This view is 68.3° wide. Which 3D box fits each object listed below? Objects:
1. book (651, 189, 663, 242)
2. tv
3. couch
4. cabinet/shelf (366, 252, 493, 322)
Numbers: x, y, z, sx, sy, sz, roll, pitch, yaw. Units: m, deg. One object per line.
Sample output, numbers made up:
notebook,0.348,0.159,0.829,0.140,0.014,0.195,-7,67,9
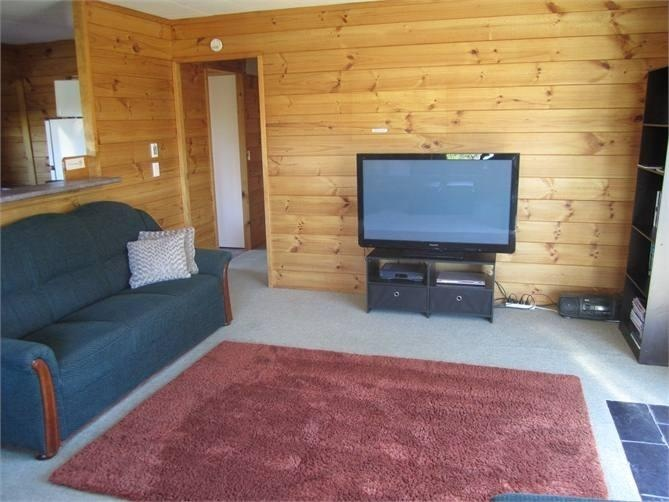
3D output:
book,2.295,-0.260,3.538,0.048,0.358,0.537,11,16,31
tv,0.888,-0.404,4.355,1.862,0.819,0.090,-2,6,-31
couch,-1.453,0.544,3.225,0.854,0.739,1.761,8,13,16
cabinet/shelf,0.864,0.330,4.448,1.127,0.383,0.378,2,3,14
